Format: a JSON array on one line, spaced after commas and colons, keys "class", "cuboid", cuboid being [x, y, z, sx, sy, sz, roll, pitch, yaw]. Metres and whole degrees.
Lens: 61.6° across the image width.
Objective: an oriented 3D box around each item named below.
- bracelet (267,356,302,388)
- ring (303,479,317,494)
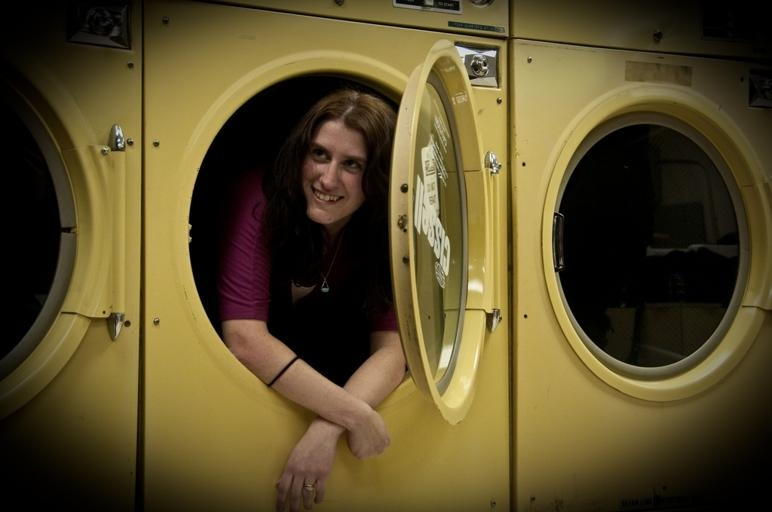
[{"class": "bracelet", "cuboid": [-0.358, 0.398, 2.271, 0.074, 0.105, 0.102, 37, -3, -8]}, {"class": "ring", "cuboid": [-0.260, 0.784, 2.202, 0.038, 0.038, 0.011, 3, 0, -13]}]
